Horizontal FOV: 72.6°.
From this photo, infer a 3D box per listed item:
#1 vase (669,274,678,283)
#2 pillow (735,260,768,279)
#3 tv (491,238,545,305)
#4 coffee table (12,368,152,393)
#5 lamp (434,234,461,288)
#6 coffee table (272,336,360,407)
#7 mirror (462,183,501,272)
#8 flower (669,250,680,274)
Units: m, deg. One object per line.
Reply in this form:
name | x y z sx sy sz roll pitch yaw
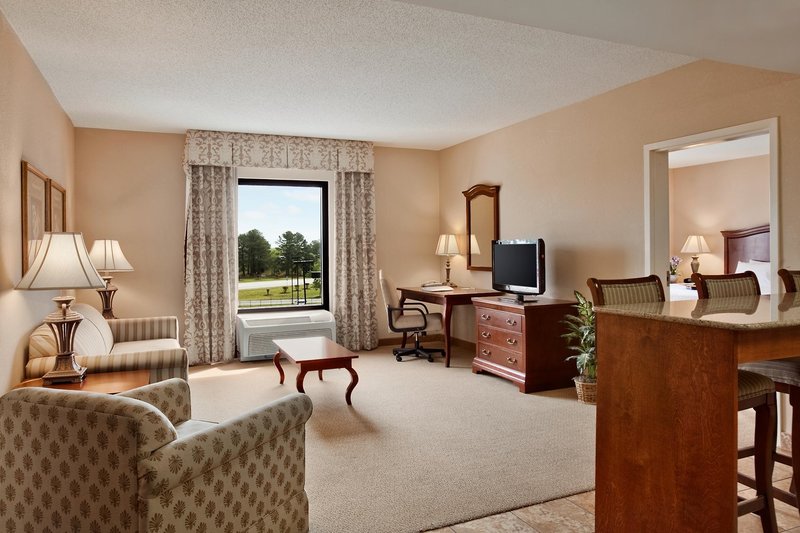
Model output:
vase | 4.057 0.185 8.100 0.138 0.097 0.134 -2 3 -15
pillow | 4.676 0.047 7.191 0.257 0.258 0.759 0 1 13
tv | 1.392 0.061 6.358 0.201 0.576 0.792 1 -4 -18
coffee table | -2.150 0.833 3.938 0.463 0.103 0.448 0 -1 -11
lamp | 0.675 -0.085 7.906 0.425 0.714 0.422 -2 -5 19
coffee table | -0.784 1.181 5.457 0.594 0.464 1.062 -1 4 -24
mirror | 1.110 -0.513 7.526 0.162 1.215 0.762 -5 9 -23
flower | 4.253 -0.013 8.444 0.128 0.282 0.548 3 8 27
